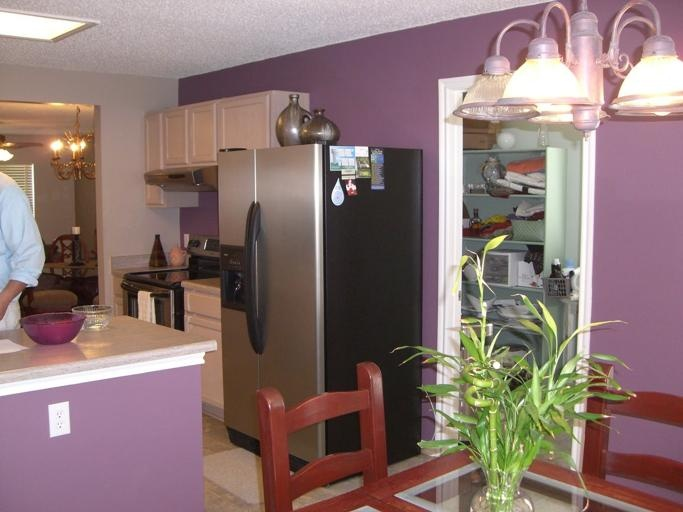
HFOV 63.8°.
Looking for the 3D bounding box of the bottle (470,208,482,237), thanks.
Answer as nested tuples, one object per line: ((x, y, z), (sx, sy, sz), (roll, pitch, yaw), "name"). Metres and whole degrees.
((0.961, -0.242, 3.929), (0.067, 0.202, 0.108), (3, 8, 20), "bottle")

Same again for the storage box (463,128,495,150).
((0.950, -0.776, 3.786), (0.149, 0.098, 0.209), (4, 9, 34), "storage box")

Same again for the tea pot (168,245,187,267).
((-1.692, -0.001, 5.649), (0.205, 0.215, 0.201), (4, -1, 0), "tea pot")

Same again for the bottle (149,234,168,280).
((-1.890, -0.055, 5.638), (0.178, 0.325, 0.369), (-2, 7, -18), "bottle")

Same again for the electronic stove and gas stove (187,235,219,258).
((-1.393, -0.102, 5.518), (0.244, 0.175, 0.378), (3, -2, -37), "electronic stove and gas stove")

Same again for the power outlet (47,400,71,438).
((-1.147, 0.665, 2.232), (0.080, 0.140, 0.020), (-4, 8, -28), "power outlet")

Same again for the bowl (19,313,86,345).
((-1.303, 0.314, 2.446), (0.188, 0.071, 0.185), (1, 1, 0), "bowl")

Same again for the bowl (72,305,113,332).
((-1.194, 0.291, 2.656), (0.145, 0.082, 0.146), (1, 3, 0), "bowl")
